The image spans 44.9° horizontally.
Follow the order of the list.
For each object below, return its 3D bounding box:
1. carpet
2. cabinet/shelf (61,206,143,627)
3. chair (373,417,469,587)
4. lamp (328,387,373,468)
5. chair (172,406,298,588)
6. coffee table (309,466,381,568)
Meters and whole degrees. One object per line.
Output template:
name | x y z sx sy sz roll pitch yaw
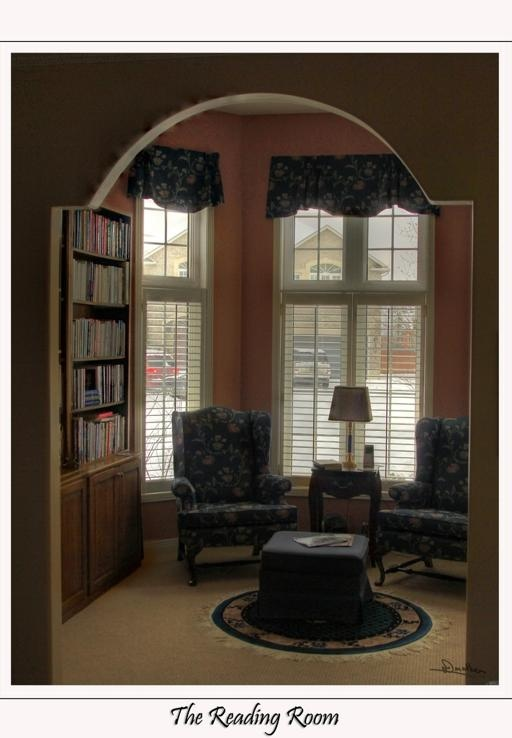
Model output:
carpet | 0.333 1.285 3.095 1.148 0.026 0.736 0 -2 1
cabinet/shelf | -0.967 0.129 3.743 0.374 2.361 1.264 0 -2 2
chair | 1.054 0.828 3.925 0.527 0.997 0.894 -1 -2 20
lamp | 0.655 0.405 4.320 0.281 0.565 0.432 -1 -2 9
chair | -0.165 0.797 4.103 0.772 1.055 0.708 0 -2 -9
coffee table | 0.607 0.965 4.312 0.468 0.647 0.413 0 7 6
